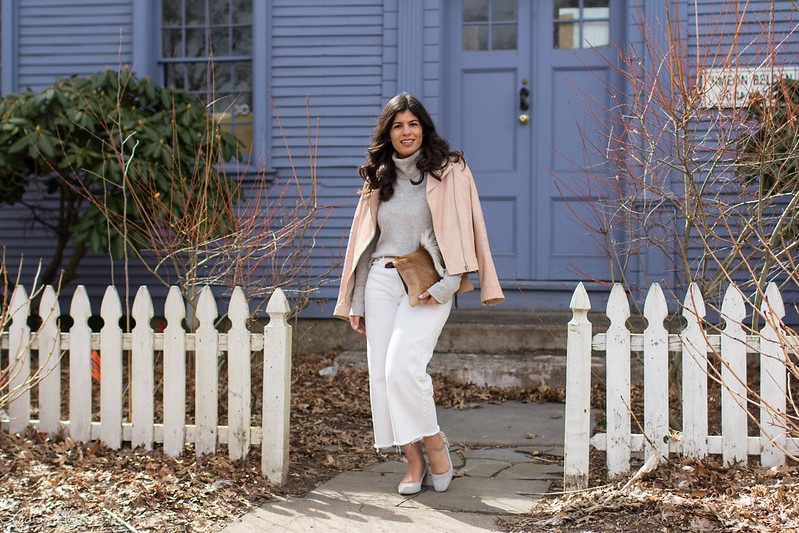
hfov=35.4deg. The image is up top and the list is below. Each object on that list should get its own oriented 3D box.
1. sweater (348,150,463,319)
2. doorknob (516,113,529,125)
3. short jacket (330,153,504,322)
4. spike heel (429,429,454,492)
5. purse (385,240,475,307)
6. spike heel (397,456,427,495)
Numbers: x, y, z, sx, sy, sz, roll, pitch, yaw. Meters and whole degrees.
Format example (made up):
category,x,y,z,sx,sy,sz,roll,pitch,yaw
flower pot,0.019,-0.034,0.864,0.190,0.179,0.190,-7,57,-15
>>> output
category,x,y,z,sx,sy,sz,roll,pitch,yaw
sweater,0.061,-0.258,11.122,0.904,1.504,0.351,-1,0,17
doorknob,1.431,-1.700,14.456,0.106,0.127,0.031,0,6,18
short jacket,0.127,-0.243,11.656,1.444,1.619,0.630,-4,-11,12
spike heel,0.369,1.691,11.120,0.182,0.620,0.097,-10,-39,9
purse,0.212,0.035,10.946,0.452,0.627,0.239,-6,-8,4
spike heel,0.115,1.854,11.083,0.213,0.218,0.419,-5,5,37
